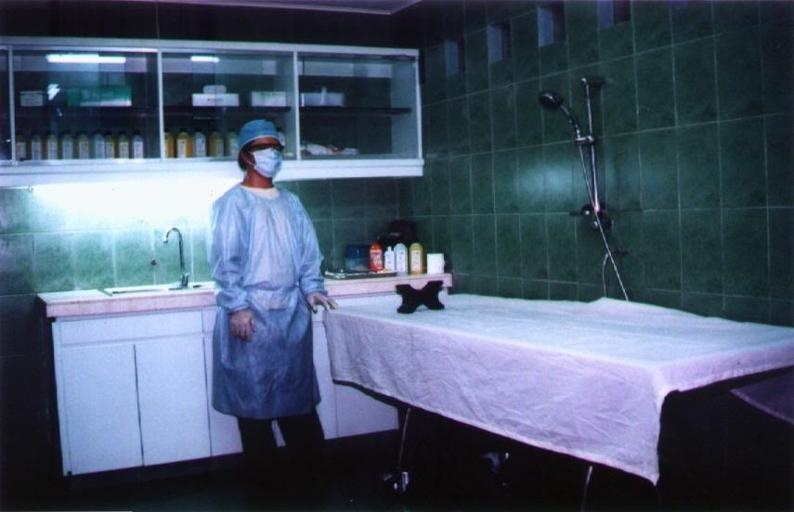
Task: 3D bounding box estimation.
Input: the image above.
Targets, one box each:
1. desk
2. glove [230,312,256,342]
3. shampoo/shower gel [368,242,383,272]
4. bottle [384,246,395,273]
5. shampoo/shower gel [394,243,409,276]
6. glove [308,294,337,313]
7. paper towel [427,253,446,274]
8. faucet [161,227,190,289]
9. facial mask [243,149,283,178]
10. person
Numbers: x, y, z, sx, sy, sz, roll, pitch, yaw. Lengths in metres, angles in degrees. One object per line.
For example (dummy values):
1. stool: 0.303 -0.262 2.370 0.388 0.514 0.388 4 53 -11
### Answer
1. desk: 0.811 0.626 3.551 2.289 0.557 1.024 2 7 41
2. glove: -0.933 0.412 3.784 0.141 0.185 0.058 -4 5 -13
3. shampoo/shower gel: -0.179 0.008 5.205 0.128 0.229 0.184 -3 5 -3
4. bottle: -0.069 0.019 5.199 0.091 0.193 0.095 -3 5 0
5. shampoo/shower gel: 0.025 0.021 5.161 0.102 0.249 0.245 -2 5 9
6. glove: -0.490 0.308 4.068 0.234 0.067 0.152 3 35 3
7. paper towel: 0.311 0.065 5.182 0.176 0.165 0.040 1 0 -4
8. faucet: -1.677 0.005 4.785 0.168 0.452 0.348 -5 5 -18
9. facial mask: -0.823 -0.589 3.956 0.160 0.120 0.180 -5 12 -35
10. person: -0.796 0.345 3.943 0.766 2.386 0.409 -5 5 -17
